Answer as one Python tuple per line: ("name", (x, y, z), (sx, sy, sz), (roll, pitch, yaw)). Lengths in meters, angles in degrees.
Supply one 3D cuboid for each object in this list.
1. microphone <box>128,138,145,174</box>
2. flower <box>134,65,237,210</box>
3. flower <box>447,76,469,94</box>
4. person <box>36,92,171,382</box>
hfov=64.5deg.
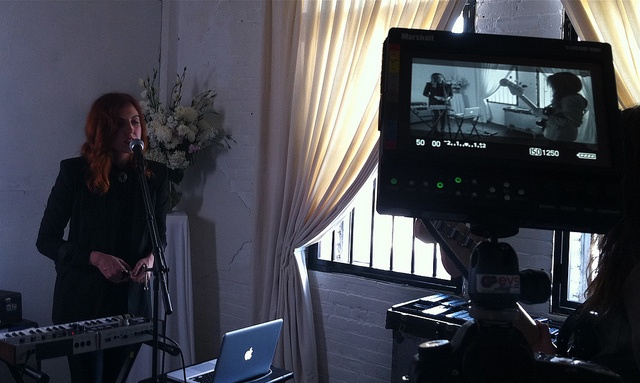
("microphone", (-0.905, -0.173, 2.475), (0.066, 0.057, 0.214), (-7, 47, -13))
("flower", (-1.104, -0.501, 4.056), (0.567, 0.674, 0.574), (-19, 28, -29))
("flower", (0.441, -0.340, 1.607), (0.064, 0.061, 0.060), (0, 3, -18))
("person", (-1.258, 0.083, 2.850), (0.588, 1.320, 0.405), (1, 3, -28))
